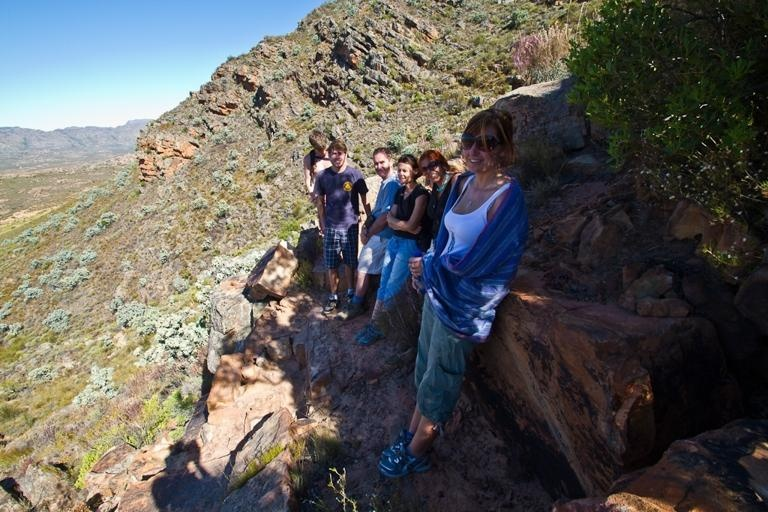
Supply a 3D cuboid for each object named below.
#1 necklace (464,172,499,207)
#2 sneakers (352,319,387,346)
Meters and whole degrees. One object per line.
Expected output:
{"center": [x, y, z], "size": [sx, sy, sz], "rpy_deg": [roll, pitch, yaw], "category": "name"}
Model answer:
{"center": [1.027, -0.692, 4.442], "size": [0.131, 0.369, 0.358], "rpy_deg": [28, 2, -24], "category": "necklace"}
{"center": [-0.228, 1.227, 6.601], "size": [0.473, 0.213, 0.300], "rpy_deg": [-25, 52, 4], "category": "sneakers"}
